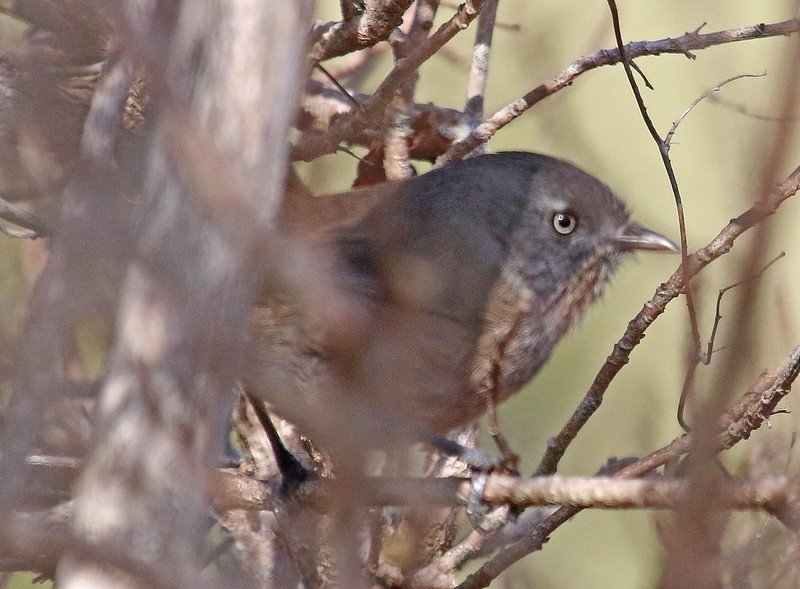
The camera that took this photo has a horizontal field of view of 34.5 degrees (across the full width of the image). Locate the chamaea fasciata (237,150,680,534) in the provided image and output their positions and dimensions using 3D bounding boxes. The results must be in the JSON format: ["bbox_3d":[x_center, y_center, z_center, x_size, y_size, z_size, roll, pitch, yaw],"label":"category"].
[{"bbox_3d":[0.115,-0.020,3.015,0.659,1.170,0.886,-6,-75,1],"label":"chamaea fasciata"}]
